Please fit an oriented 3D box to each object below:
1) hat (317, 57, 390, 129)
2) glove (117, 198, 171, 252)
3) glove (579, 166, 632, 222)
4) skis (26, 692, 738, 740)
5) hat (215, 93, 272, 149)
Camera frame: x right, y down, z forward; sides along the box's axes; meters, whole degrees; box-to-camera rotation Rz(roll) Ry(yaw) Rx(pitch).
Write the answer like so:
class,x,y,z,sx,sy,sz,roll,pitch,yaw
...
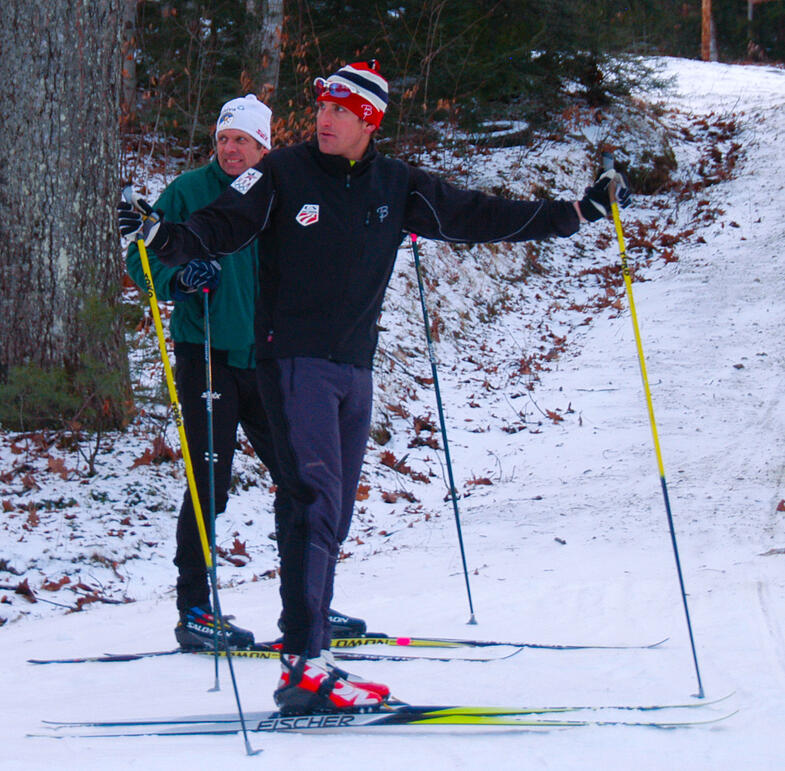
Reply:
class,x,y,z,sx,sy,sz,roll,pitch,yaw
hat,-0.133,-1.523,7.120,0.427,0.311,0.311,4,7,-29
glove,-1.239,-0.790,6.692,0.203,0.272,0.106,-49,-12,35
glove,1.131,-1.000,7.362,0.352,0.199,0.143,-39,-7,-6
skis,0.030,1.696,6.926,1.947,0.101,0.191,-3,5,0
hat,-0.841,-1.515,7.852,0.290,0.303,0.367,3,3,39
